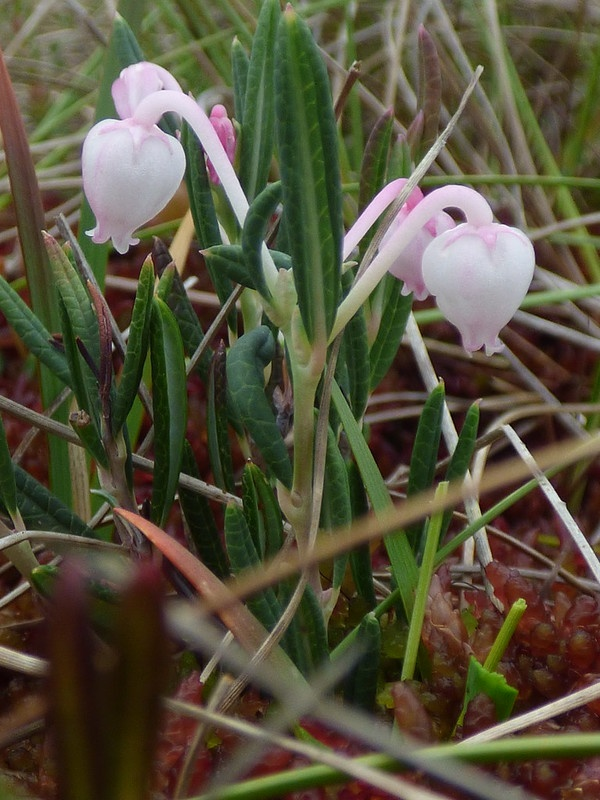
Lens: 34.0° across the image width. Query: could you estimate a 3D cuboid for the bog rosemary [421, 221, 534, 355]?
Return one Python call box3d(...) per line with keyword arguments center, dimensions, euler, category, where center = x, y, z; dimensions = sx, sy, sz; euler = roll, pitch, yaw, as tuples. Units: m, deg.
box3d(center=(0.129, -0.078, 0.711), dimensions=(0.076, 0.095, 0.082), euler=(-4, 4, -43), category="bog rosemary")
